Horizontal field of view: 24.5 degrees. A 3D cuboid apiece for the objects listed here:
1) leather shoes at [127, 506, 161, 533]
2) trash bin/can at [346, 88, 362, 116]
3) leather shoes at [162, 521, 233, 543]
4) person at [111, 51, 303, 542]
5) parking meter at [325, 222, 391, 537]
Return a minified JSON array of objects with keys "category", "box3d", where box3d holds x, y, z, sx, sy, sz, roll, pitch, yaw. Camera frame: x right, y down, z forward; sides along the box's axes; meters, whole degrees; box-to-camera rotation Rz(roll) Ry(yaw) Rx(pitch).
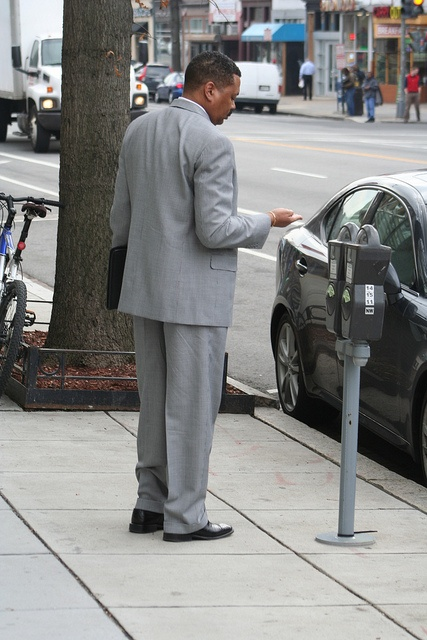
[{"category":"leather shoes","box3d":[-0.254,0.756,3.726,0.059,0.077,0.154,2,1,39]},{"category":"trash bin/can","box3d":[5.633,-8.623,39.184,0.662,1.063,0.619,4,4,0]},{"category":"leather shoes","box3d":[-0.056,0.752,3.644,0.257,0.121,0.085,-1,1,-32]},{"category":"person","box3d":[-0.071,-0.056,3.683,0.716,1.733,0.578,0,3,-20]},{"category":"parking meter","box3d":[0.504,0.249,3.583,0.243,1.190,0.397,4,4,9]}]
